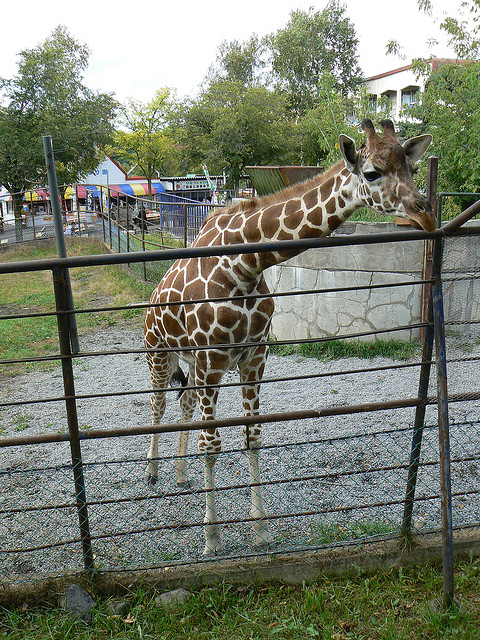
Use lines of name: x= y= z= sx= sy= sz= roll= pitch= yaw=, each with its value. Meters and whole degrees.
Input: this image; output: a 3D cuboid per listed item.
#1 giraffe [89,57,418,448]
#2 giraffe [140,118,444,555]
giraffe: x=0.111 y=0.013 z=3.524 sx=0.507 sy=1.507 sz=2.319 roll=-11 pitch=6 yaw=-32
giraffe: x=0.068 y=0.057 z=3.590 sx=1.289 sy=1.992 sz=1.900 roll=-6 pitch=11 yaw=-10
